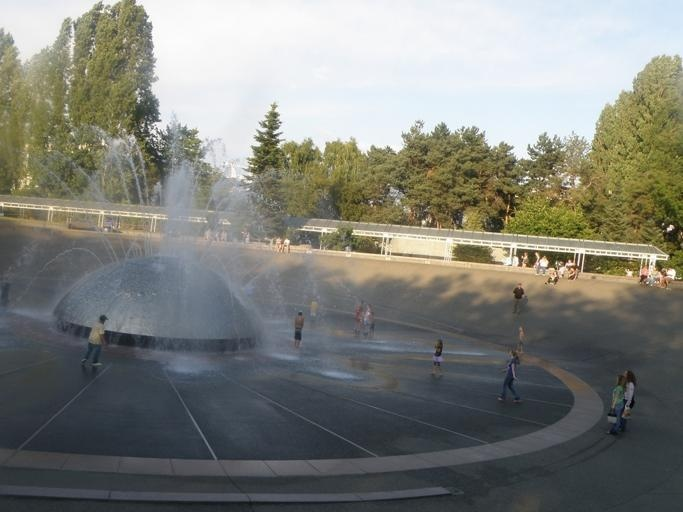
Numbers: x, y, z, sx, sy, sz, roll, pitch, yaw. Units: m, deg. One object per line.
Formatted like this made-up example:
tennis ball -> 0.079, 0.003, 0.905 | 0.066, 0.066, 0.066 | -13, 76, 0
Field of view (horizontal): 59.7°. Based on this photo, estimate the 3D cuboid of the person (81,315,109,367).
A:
person -> -8.083, 2.751, 19.424 | 0.655, 1.494, 1.326 | 1, 11, -21

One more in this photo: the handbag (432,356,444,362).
handbag -> 3.652, 3.880, 22.287 | 0.330, 0.256, 0.338 | -5, 15, -24

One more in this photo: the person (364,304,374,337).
person -> 1.334, 3.172, 29.119 | 0.537, 1.452, 0.982 | 6, 10, 3

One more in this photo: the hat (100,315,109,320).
hat -> -7.880, 2.068, 19.770 | 0.321, 0.119, 0.344 | 4, 2, 12

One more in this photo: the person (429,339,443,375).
person -> 3.712, 3.708, 22.796 | 0.371, 1.419, 1.736 | 7, 10, 10

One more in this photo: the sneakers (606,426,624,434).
sneakers -> 8.181, 5.173, 17.752 | 0.546, 0.242, 0.189 | 3, 5, -1
